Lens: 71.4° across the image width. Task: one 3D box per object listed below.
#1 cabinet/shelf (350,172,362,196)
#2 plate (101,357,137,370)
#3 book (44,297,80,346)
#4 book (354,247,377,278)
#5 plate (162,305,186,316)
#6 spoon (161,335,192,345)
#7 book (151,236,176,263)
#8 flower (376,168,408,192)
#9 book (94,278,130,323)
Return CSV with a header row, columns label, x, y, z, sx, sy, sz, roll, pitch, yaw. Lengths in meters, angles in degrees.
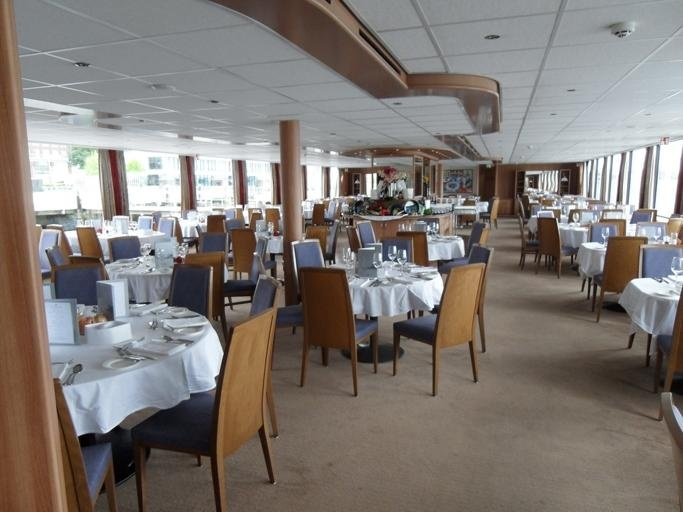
label,x,y,z,sx,sy,sz,roll,pitch,yaw
cabinet/shelf,1.003,-4.743,31.366,0.714,1.310,0.555,1,11,9
plate,-1.272,0.620,2.746,0.193,0.023,0.141,0,11,5
book,-1.794,0.424,3.038,0.253,0.299,0.077,2,12,12
book,0.256,0.059,4.773,0.229,0.368,0.243,2,13,10
plate,-1.279,0.425,3.652,0.170,0.018,0.304,-5,12,-22
spoon,-1.064,0.543,3.061,0.233,0.018,0.088,3,12,17
book,-2.313,-0.077,6.143,0.262,0.295,0.494,0,5,-15
flower,1.126,-1.653,10.310,0.589,0.671,0.555,1,0,2
book,-1.604,0.319,3.446,0.259,0.373,0.233,3,5,9
